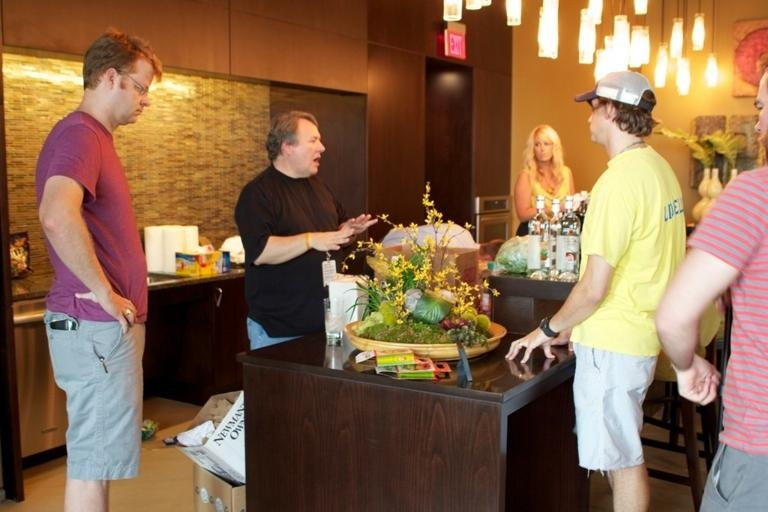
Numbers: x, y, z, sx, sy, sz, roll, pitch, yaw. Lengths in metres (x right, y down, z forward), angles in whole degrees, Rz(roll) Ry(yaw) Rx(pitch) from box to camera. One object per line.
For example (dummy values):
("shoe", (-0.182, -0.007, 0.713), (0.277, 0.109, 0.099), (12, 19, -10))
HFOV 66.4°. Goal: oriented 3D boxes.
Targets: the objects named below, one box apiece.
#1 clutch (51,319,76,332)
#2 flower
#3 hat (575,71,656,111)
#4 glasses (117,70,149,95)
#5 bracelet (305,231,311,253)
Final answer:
("clutch", (-1.367, 0.301, 2.507), (0.078, 0.032, 0.060), (-4, -4, 28))
("flower", (0.177, 0.053, 2.774), (0.767, 0.725, 0.772), (2, 4, 29))
("hat", (0.998, -0.698, 2.532), (0.265, 0.140, 0.191), (22, 18, 25))
("glasses", (-1.101, -0.772, 2.625), (0.022, 0.075, 0.073), (-28, -6, 13))
("bracelet", (-0.396, -0.072, 3.062), (0.024, 0.070, 0.060), (1, 0, -13))
